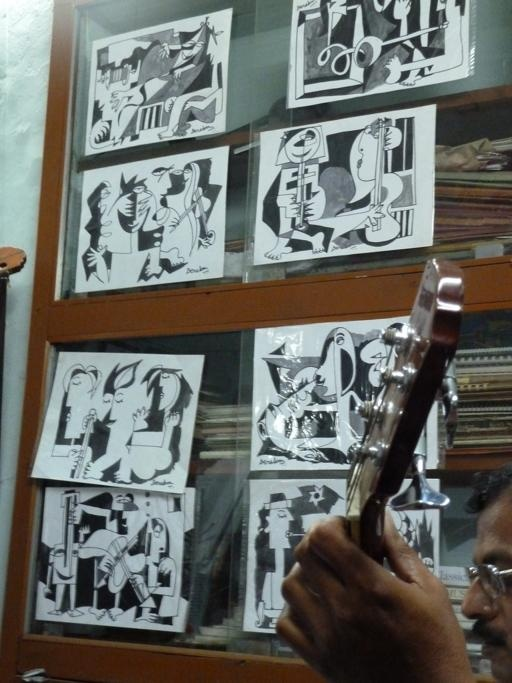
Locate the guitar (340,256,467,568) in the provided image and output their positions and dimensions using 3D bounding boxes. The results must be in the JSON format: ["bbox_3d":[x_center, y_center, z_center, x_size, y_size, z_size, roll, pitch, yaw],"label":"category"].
[{"bbox_3d":[0.135,0.073,0.787,0.105,0.327,0.153,-1,39,7],"label":"guitar"}]
